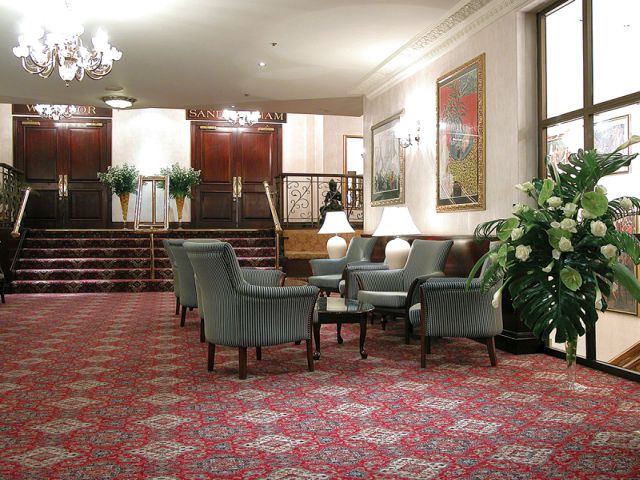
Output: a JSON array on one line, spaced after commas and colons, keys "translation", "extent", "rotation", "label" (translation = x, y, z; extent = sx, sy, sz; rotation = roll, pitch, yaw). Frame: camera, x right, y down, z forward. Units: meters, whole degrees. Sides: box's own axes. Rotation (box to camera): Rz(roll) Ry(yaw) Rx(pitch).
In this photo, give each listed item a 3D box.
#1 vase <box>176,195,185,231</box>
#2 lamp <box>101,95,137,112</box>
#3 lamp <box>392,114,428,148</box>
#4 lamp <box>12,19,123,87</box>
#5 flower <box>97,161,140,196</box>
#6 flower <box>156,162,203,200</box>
[{"translation": [-4.047, -0.807, 12.361], "extent": [0.301, 0.912, 0.809], "rotation": [0, 0, -19], "label": "vase"}, {"translation": [-4.114, -2.824, 8.683], "extent": [0.348, 0.119, 0.347], "rotation": [-1, 3, 17], "label": "lamp"}, {"translation": [1.347, -1.617, 6.440], "extent": [0.460, 0.477, 0.449], "rotation": [-1, 1, -13], "label": "lamp"}, {"translation": [-3.250, -2.321, 5.326], "extent": [0.776, 0.410, 0.795], "rotation": [-10, 2, 22], "label": "lamp"}, {"translation": [-5.853, -1.817, 12.503], "extent": [1.004, 1.157, 1.161], "rotation": [-8, 13, -32], "label": "flower"}, {"translation": [-4.132, -1.763, 12.702], "extent": [1.029, 1.163, 1.131], "rotation": [-2, 5, -23], "label": "flower"}]
